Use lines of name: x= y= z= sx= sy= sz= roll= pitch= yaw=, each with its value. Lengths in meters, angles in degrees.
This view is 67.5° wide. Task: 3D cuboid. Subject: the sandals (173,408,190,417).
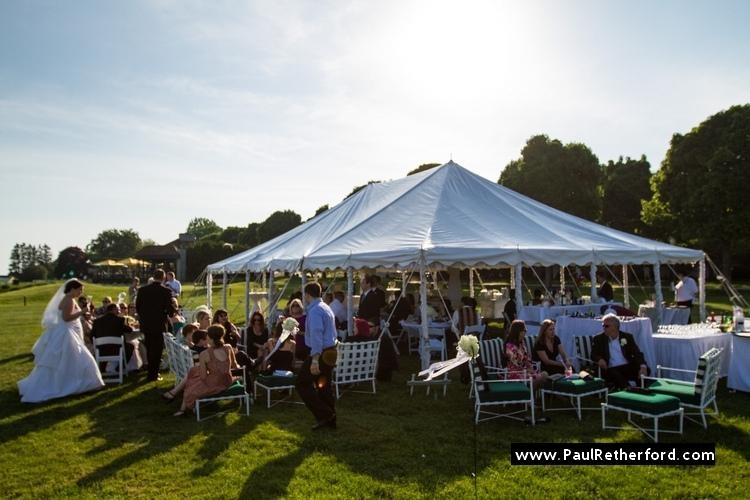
sandals: x=-3.766 y=3.182 z=10.954 sx=0.236 sy=0.096 sz=0.132 roll=5 pitch=-4 yaw=-2

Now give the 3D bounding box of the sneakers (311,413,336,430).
sneakers: x=-0.962 y=3.190 z=10.327 sx=0.508 sy=0.236 sz=0.171 roll=6 pitch=-7 yaw=-17
